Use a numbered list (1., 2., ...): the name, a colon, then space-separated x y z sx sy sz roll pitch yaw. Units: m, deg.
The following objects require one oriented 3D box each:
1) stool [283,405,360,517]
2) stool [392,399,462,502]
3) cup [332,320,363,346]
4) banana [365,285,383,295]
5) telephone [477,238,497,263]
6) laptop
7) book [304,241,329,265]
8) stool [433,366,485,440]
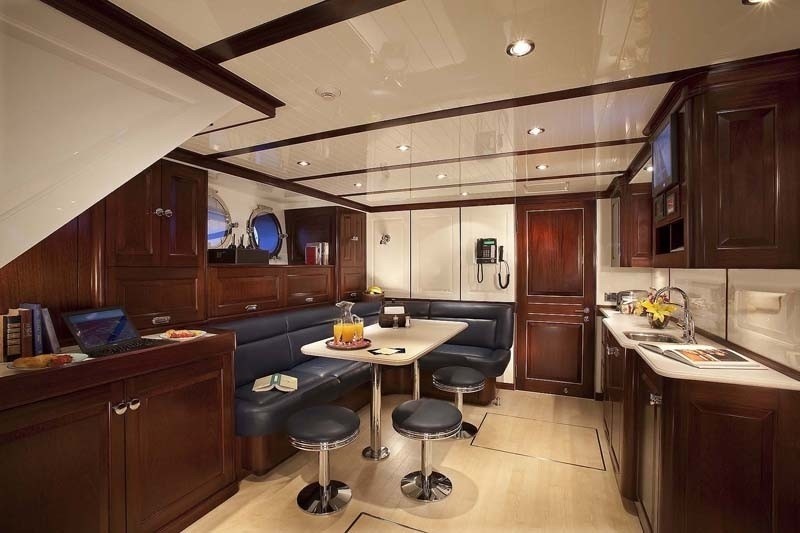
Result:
1. stool: -0.578 1.471 4.076 0.706 0.797 0.692 0 2 -8
2. stool: 0.235 1.444 4.177 0.696 0.743 0.688 1 -2 -4
3. cup: -0.448 0.552 4.365 0.195 0.186 0.197 1 0 0
4. banana: -0.334 0.311 6.875 0.224 0.114 0.359 -2 2 -1
5. telephone: 1.068 -0.200 6.378 0.259 0.281 0.123 -1 -7 6
6. laptop: -2.063 0.439 3.555 0.237 0.370 0.396 -23 -11 24
7. book: -0.931 -0.152 6.063 0.320 0.314 0.193 -1 3 -38
8. stool: 0.558 1.293 4.994 0.630 0.708 0.623 0 0 0
